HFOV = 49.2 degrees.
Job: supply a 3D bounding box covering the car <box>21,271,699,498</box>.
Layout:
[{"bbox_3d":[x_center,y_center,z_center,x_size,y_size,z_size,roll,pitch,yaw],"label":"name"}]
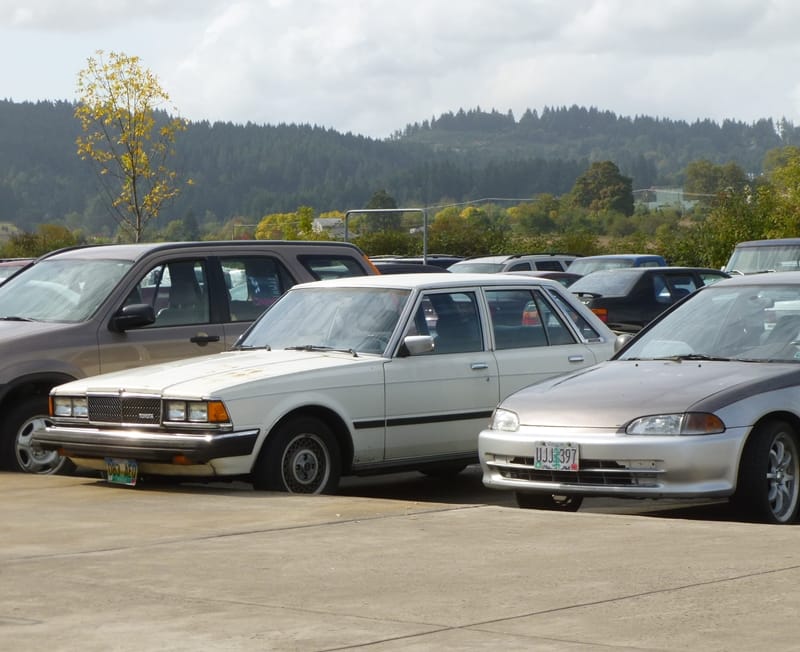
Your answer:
[{"bbox_3d":[-0.010,0.509,8.254,4.951,1.487,2.322,1,-3,-44],"label":"car"}]
